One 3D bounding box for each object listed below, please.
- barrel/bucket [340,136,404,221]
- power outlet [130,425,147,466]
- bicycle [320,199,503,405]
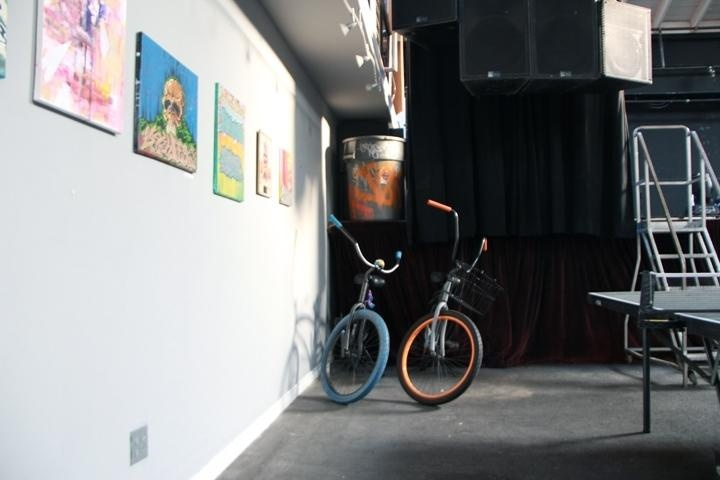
[{"bbox_3d":[0.141,-0.538,5.128,0.604,0.788,0.665,-1,-1,2],"label":"barrel/bucket"},{"bbox_3d":[-0.923,0.853,2.284,0.015,0.144,0.104,1,4,16],"label":"power outlet"},{"bbox_3d":[0.335,0.423,4.214,1.312,1.451,1.317,-1,4,-5],"label":"bicycle"}]
